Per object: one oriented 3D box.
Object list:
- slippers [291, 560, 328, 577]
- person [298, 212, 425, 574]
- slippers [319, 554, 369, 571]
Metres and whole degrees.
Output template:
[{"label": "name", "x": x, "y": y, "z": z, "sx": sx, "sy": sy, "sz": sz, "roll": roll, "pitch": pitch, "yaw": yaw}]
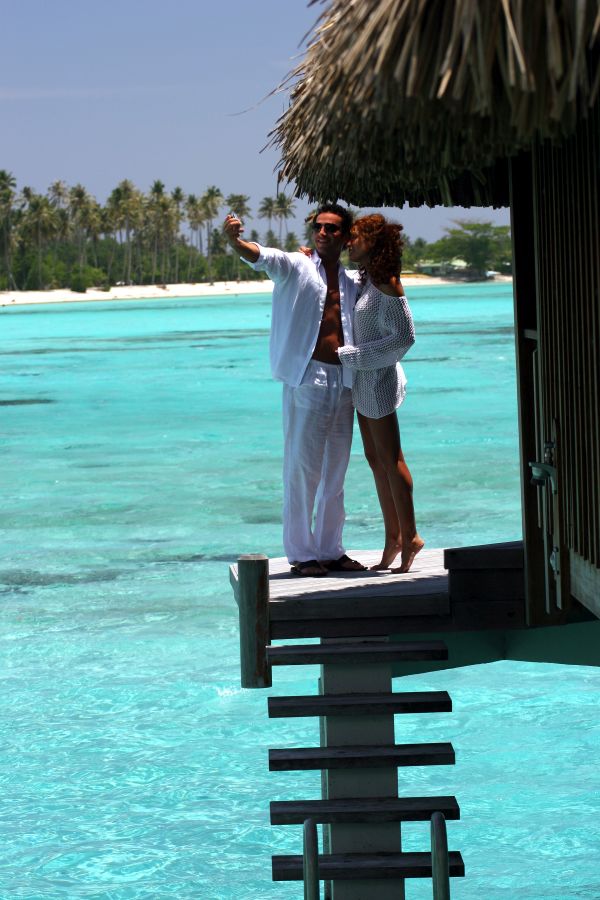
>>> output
[{"label": "slippers", "x": 0.049, "y": 0.547, "z": 5.382, "sx": 0.144, "sy": 0.038, "sz": 0.072, "roll": 3, "pitch": 12, "yaw": 22}, {"label": "person", "x": 0.365, "y": -0.218, "z": 5.189, "sx": 0.390, "sy": 1.633, "sz": 0.521, "roll": 2, "pitch": 9, "yaw": 5}, {"label": "slippers", "x": 0.206, "y": 0.542, "z": 5.492, "sx": 0.219, "sy": 0.077, "sz": 0.077, "roll": 1, "pitch": 5, "yaw": 5}]
